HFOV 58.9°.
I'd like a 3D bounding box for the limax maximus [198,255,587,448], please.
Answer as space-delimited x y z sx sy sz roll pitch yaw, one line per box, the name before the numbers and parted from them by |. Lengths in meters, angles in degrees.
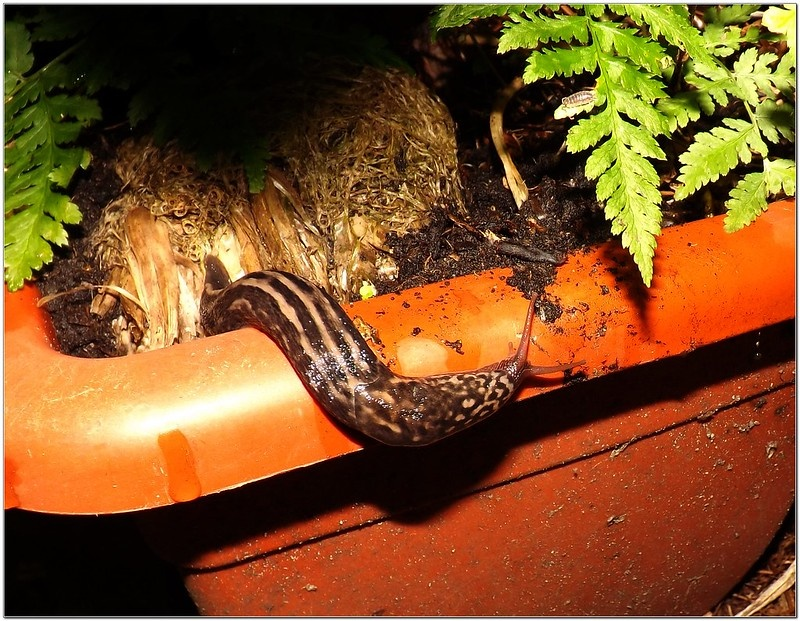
limax maximus | -0.065 0.028 1.688 0.726 0.398 0.709 -7 15 -22
